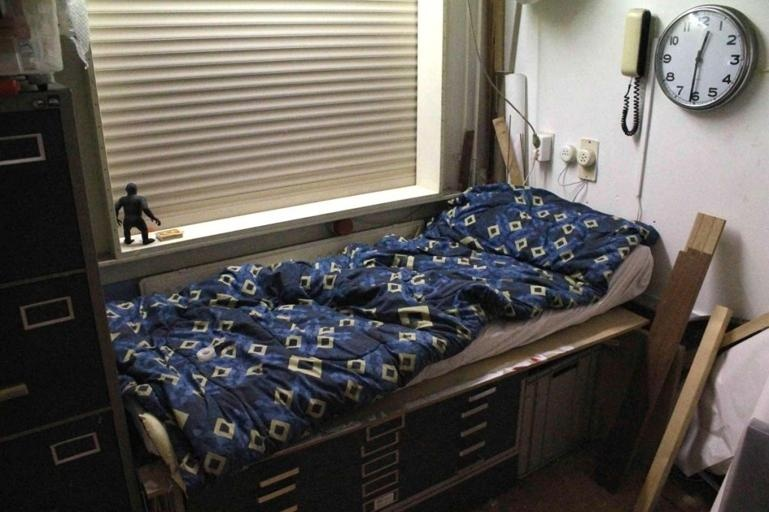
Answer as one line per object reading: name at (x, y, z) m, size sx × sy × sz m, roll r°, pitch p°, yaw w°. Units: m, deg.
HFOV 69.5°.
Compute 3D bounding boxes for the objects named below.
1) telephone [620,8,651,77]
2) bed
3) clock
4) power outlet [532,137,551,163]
telephone at (1.275, -1.082, 2.799) m, size 0.121 × 0.329 × 0.114 m, roll 7°, pitch 25°, yaw 22°
bed at (0.107, 0.256, 2.619) m, size 2.400 × 0.455 × 1.349 m, roll -14°, pitch 28°, yaw -24°
clock at (1.521, -0.935, 2.582) m, size 0.112 × 0.500 × 0.467 m, roll -9°, pitch 26°, yaw -42°
power outlet at (0.955, -0.655, 3.347) m, size 0.095 × 0.164 × 0.098 m, roll -7°, pitch 26°, yaw -17°
